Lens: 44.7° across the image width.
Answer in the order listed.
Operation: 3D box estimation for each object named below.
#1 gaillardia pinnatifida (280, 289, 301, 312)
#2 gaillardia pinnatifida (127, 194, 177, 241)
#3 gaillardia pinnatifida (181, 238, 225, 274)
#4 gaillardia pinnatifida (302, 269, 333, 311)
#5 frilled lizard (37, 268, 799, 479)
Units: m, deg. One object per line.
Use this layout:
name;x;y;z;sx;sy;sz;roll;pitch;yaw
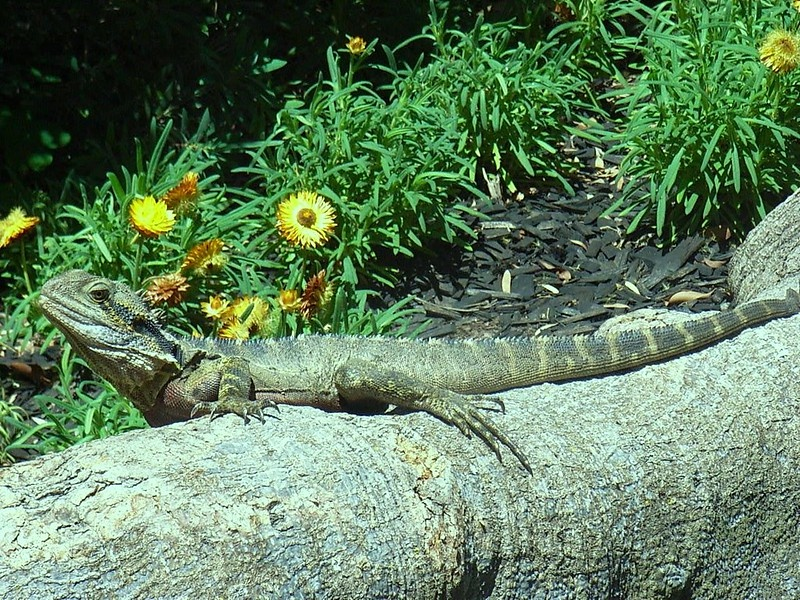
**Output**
gaillardia pinnatifida;-0.641;0.014;5.764;0.119;0.129;0.117;-10;31;-44
gaillardia pinnatifida;-1.517;-0.458;5.907;0.110;0.255;0.273;-40;35;42
gaillardia pinnatifida;-1.257;-0.247;6.202;0.229;0.177;0.228;-3;-26;-49
gaillardia pinnatifida;-0.495;-0.071;5.774;0.130;0.101;0.237;-6;34;16
frilled lizard;-0.019;0.345;4.940;3.283;0.776;1.413;3;0;1
